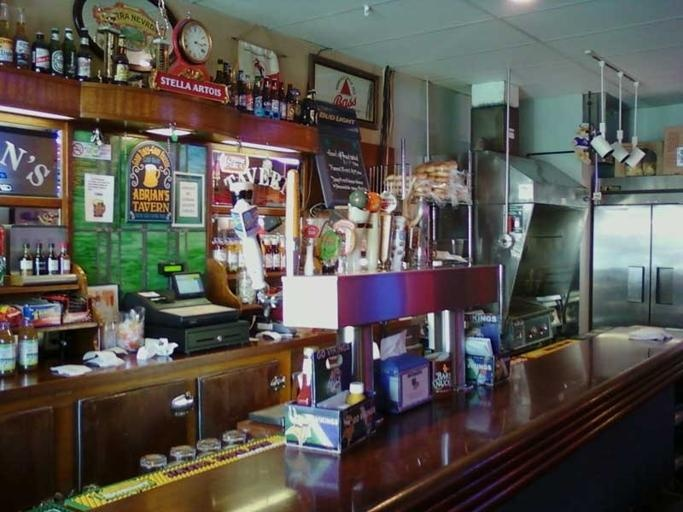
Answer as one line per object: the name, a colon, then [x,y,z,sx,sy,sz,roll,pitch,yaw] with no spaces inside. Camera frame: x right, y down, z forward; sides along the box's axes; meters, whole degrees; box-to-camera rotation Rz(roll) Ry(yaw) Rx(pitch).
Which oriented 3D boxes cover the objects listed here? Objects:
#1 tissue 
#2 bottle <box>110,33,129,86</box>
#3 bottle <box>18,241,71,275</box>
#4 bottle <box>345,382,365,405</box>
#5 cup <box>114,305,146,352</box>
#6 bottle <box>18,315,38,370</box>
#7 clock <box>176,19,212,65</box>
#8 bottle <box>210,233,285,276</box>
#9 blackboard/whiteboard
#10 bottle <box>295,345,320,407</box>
tissue : [0.271,0.502,2.599,0.239,0.306,0.184,-3,6,-41]
bottle: [-1.388,-1.219,3.679,0.092,0.322,0.277,-3,6,-21]
bottle: [-1.769,0.021,3.491,0.190,0.173,0.065,0,-5,-32]
bottle: [0.053,0.526,2.240,0.067,0.068,0.068,0,-3,-9]
cup: [-1.333,0.487,3.724,0.179,0.274,0.161,-6,-11,-9]
bottle: [-1.757,0.487,3.298,0.100,0.299,0.130,-3,6,-22]
clock: [-0.951,-1.369,3.776,0.233,0.275,0.036,-6,7,-40]
bottle: [-0.686,-0.029,4.614,0.371,0.375,0.135,0,-8,-25]
blackboard/whiteboard: [-0.050,-0.846,4.905,0.337,0.877,0.526,2,7,29]
bottle: [-0.130,0.459,2.280,0.082,0.196,0.144,-1,6,-4]
